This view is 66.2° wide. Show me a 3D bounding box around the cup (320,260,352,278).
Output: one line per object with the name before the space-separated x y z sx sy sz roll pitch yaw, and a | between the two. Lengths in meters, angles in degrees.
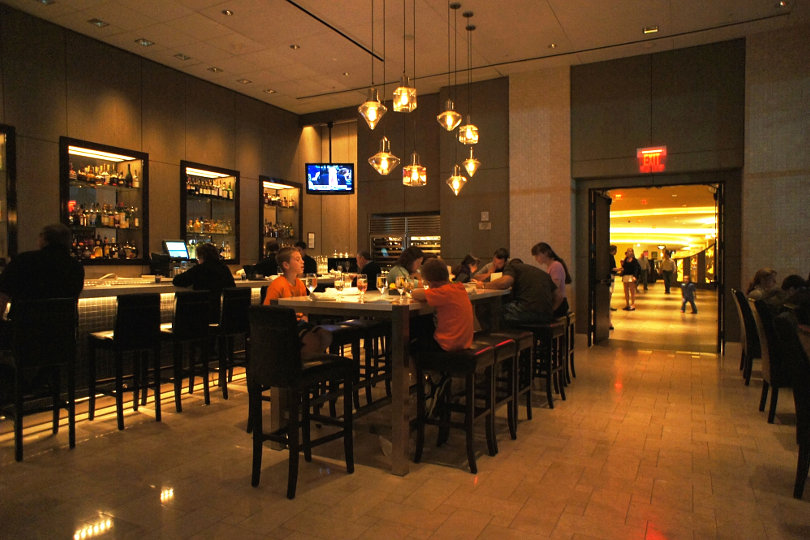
cup | -1.242 -0.030 11.981 0.519 0.296 0.359 3 -1 -4

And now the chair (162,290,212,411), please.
chair | -2.716 0.927 7.846 0.577 1.401 1.182 -3 4 -19

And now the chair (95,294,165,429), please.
chair | -3.291 0.983 7.366 0.814 1.472 1.119 -4 4 -24

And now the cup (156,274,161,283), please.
cup | -3.414 0.108 8.664 0.076 0.132 0.079 1 3 0

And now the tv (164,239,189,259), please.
tv | -3.606 -0.328 9.861 0.146 0.281 0.285 -15 -4 29

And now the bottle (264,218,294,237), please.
bottle | -2.484 -0.840 12.555 0.194 0.359 0.865 -1 4 25

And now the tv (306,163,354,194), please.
tv | -1.423 -1.787 12.071 0.908 0.575 0.116 -3 3 -8

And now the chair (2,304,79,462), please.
chair | -3.861 1.078 6.721 0.669 1.584 0.905 -4 4 -32

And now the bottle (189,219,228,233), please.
bottle | -3.473 -0.794 11.154 0.158 0.253 0.842 0 4 34
